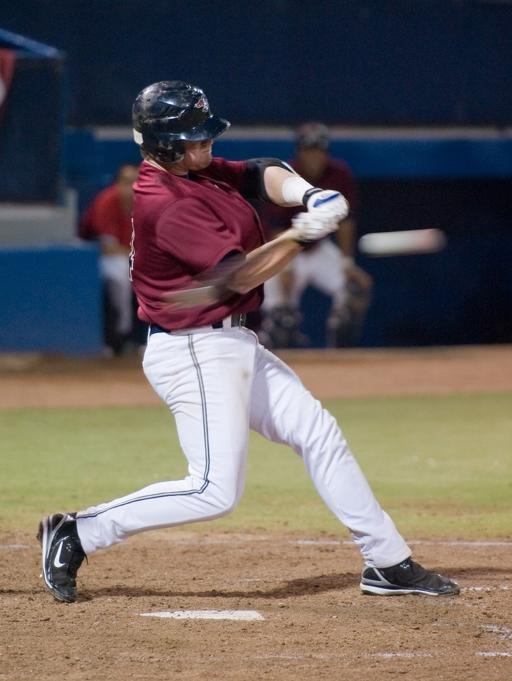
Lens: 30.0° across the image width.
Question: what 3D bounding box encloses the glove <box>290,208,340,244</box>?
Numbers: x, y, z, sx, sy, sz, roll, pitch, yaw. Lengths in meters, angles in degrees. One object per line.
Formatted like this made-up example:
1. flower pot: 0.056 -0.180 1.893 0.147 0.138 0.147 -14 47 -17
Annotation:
1. glove: 0.139 -0.266 2.239 0.110 0.078 0.102 7 13 0

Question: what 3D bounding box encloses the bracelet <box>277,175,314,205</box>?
1. bracelet: 0.091 -0.367 2.357 0.062 0.042 0.095 32 5 -16

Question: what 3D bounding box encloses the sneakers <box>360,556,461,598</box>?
1. sneakers: 0.385 0.619 2.481 0.297 0.096 0.091 0 -4 -1

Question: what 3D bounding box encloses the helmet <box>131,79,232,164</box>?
1. helmet: -0.189 -0.537 2.369 0.206 0.203 0.222 3 14 -21

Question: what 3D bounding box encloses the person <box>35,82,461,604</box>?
1. person: -0.023 0.038 2.439 0.924 1.326 0.437 7 16 -6

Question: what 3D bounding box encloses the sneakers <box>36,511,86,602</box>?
1. sneakers: -0.500 0.556 2.510 0.143 0.228 0.089 -14 -5 9

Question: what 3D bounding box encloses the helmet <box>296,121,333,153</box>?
1. helmet: 0.514 -1.704 8.140 0.485 0.175 0.554 0 8 0

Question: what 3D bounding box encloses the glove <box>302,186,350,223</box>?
1. glove: 0.166 -0.318 2.251 0.088 0.040 0.101 18 7 -15
